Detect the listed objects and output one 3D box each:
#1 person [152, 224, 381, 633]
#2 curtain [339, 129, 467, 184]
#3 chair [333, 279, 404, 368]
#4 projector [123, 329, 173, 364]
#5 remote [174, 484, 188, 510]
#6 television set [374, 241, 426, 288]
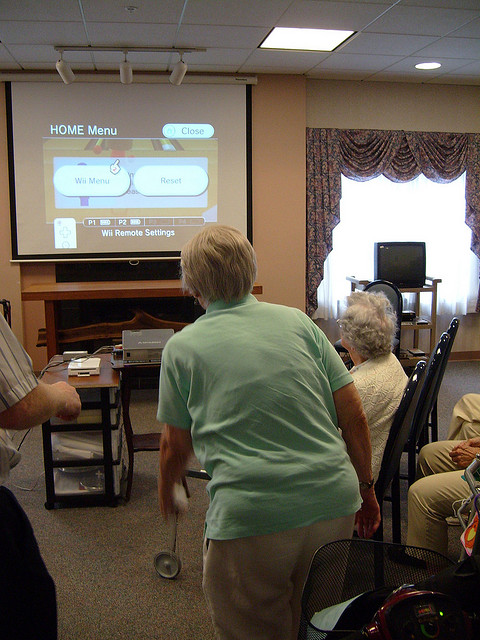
[{"bbox_3d":[0.084,0.245,1.119,0.526,0.911,0.346,-2,8,-10],"label":"person"},{"bbox_3d":[1.836,-1.845,5.610,1.532,0.578,0.082,-2,7,-9],"label":"curtain"},{"bbox_3d":[1.157,0.154,4.340,0.491,1.026,0.554,-2,0,31],"label":"chair"},{"bbox_3d":[-0.542,0.145,2.951,0.299,0.126,0.443,-2,8,-10],"label":"projector"},{"bbox_3d":[-0.139,0.416,1.185,0.014,0.059,0.033,-2,-1,37],"label":"remote"},{"bbox_3d":[1.697,-0.588,5.306,0.552,0.472,0.125,-2,8,-14],"label":"television set"}]
